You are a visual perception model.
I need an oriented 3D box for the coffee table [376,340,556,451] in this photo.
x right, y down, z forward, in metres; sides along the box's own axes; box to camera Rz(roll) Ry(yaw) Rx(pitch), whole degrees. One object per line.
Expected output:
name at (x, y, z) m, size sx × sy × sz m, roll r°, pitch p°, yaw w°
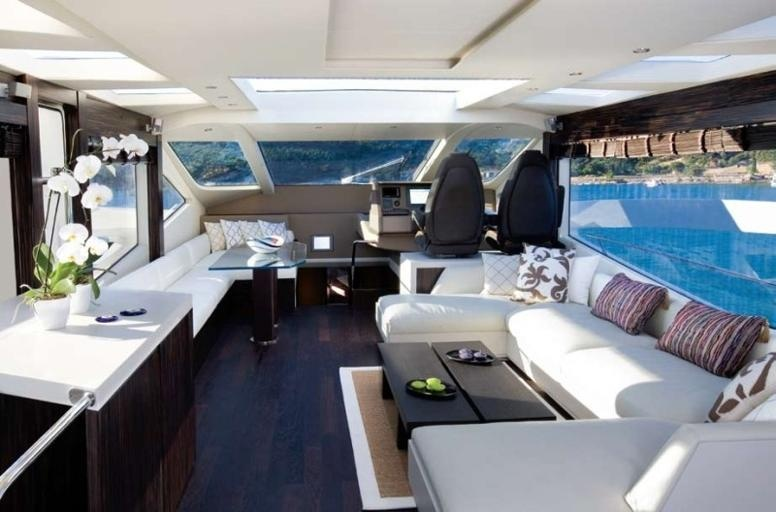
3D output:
coffee table at (0.475, 1.053, 3.767) m, size 1.012 × 0.324 × 1.470 m, roll 0°, pitch 11°, yaw -8°

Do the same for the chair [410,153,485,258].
chair at (0.663, -0.533, 5.555) m, size 0.826 × 1.112 × 0.998 m, roll -2°, pitch 3°, yaw -10°

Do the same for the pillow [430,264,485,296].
pillow at (0.821, 0.231, 5.469) m, size 0.387 × 0.128 × 0.385 m, roll 6°, pitch 12°, yaw 44°

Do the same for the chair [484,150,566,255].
chair at (1.540, -0.545, 5.625) m, size 0.995 × 1.135 × 0.945 m, roll 0°, pitch -3°, yaw -5°

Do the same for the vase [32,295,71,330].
vase at (-1.769, 0.292, 2.545) m, size 0.169 × 0.153 × 0.191 m, roll 0°, pitch 1°, yaw -33°

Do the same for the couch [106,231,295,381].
couch at (-1.991, 0.812, 5.843) m, size 1.233 × 0.808 × 2.090 m, roll 1°, pitch 21°, yaw -6°

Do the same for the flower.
flower at (-2.103, -0.264, 3.323) m, size 0.684 × 1.097 × 1.906 m, roll -9°, pitch 16°, yaw -35°

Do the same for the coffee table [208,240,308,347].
coffee table at (-1.384, 0.512, 5.538) m, size 1.066 × 0.902 × 1.326 m, roll -1°, pitch 2°, yaw -9°

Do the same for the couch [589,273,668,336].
couch at (2.091, 0.408, 4.180) m, size 0.462 × 0.185 × 0.457 m, roll -47°, pitch 22°, yaw -8°
